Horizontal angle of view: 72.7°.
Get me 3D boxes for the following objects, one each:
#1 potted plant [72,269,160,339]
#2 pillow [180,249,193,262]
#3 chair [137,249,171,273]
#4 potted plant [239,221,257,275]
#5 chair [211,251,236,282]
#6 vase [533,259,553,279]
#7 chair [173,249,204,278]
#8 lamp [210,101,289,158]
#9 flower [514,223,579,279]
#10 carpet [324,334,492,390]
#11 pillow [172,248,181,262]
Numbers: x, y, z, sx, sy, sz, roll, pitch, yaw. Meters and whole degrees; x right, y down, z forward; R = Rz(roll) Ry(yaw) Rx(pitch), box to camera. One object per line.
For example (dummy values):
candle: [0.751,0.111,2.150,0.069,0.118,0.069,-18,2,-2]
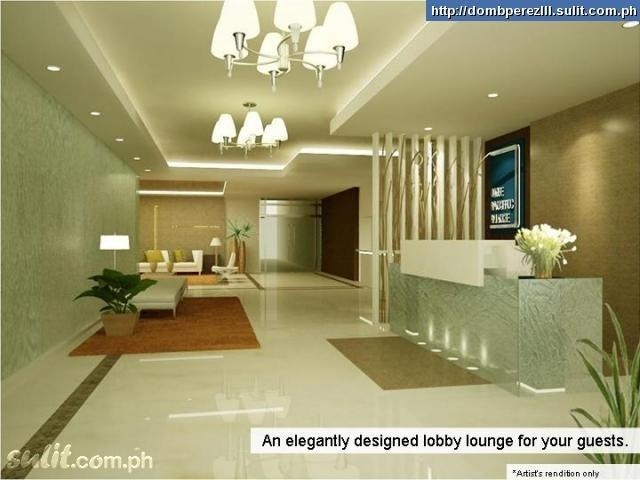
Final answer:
potted plant: [-2.754,0.860,5.987,0.735,0.939,0.545,1,1,-19]
pillow: [-4.455,0.534,14.453,0.372,0.362,0.107,4,-20,-29]
chair: [-5.107,0.694,13.519,0.863,0.648,0.787,2,-3,-34]
potted plant: [-2.615,0.282,15.128,0.470,1.765,0.775,1,1,13]
chair: [-2.976,0.826,13.437,0.971,1.059,0.792,4,-7,-23]
vase: [2.089,0.278,4.103,0.165,0.184,0.160,-2,-3,23]
chair: [-4.213,0.784,14.052,0.791,0.735,0.789,0,-7,-7]
lamp: [-1.018,-1.607,6.257,1.144,0.723,0.980,2,5,11]
flower: [2.379,0.123,4.548,0.586,0.565,0.598,2,-8,-9]
carpet: [0.881,1.362,4.952,1.160,0.046,1.817,1,1,-14]
pillow: [-4.720,0.515,14.297,0.341,0.440,0.165,-3,-2,-6]
